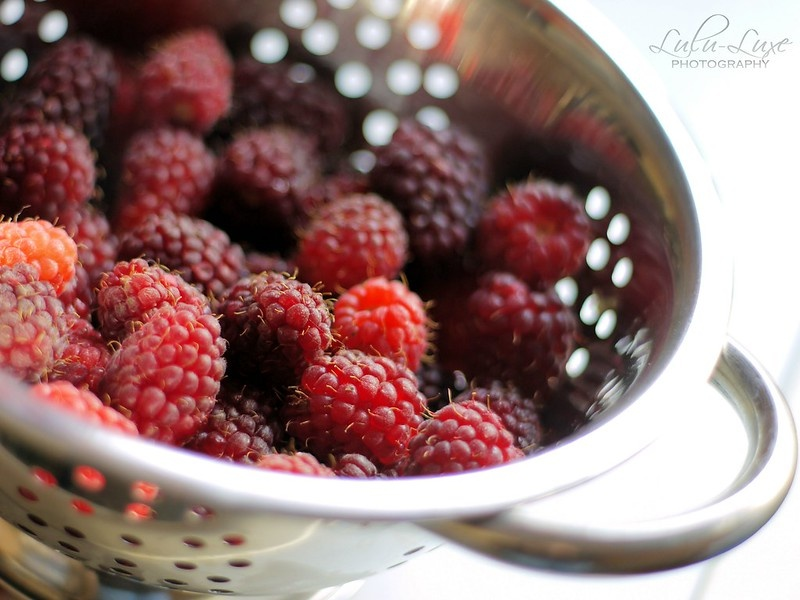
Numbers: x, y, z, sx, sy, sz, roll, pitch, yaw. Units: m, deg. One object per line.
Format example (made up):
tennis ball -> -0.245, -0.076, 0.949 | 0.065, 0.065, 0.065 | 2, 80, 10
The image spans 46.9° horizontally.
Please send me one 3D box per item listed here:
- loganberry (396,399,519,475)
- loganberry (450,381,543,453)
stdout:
loganberry -> 0.044, 0.107, 0.692 | 0.052, 0.050, 0.066 | 17, 13, -45
loganberry -> 0.082, 0.093, 0.794 | 0.069, 0.041, 0.057 | 9, 42, 28
